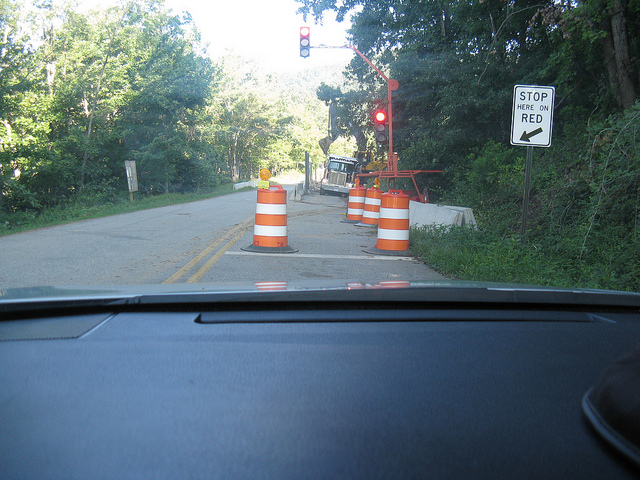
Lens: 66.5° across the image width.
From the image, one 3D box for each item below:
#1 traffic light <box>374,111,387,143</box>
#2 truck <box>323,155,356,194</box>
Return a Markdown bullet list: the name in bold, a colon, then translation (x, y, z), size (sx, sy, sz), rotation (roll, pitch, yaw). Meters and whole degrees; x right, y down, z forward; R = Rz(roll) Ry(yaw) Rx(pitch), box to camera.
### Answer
- **traffic light**: translation (2.111, -3.914, 17.029), size (0.442, 1.074, 0.368), rotation (0, 8, 4)
- **truck**: translation (1.458, -5.020, 37.858), size (2.341, 2.837, 1.797), rotation (0, 8, 3)
